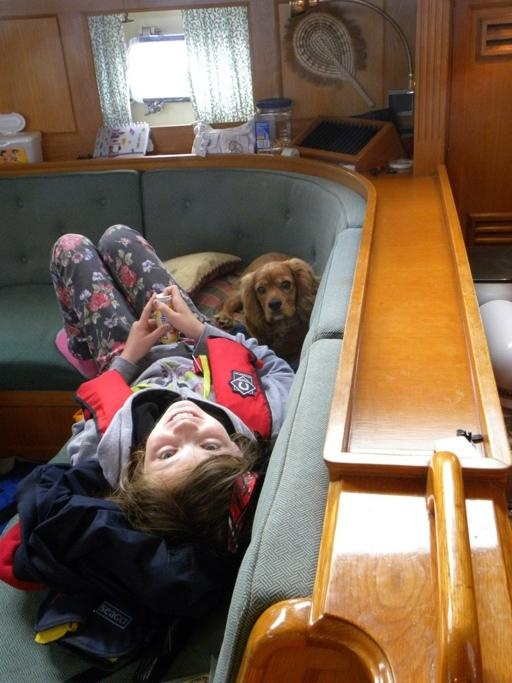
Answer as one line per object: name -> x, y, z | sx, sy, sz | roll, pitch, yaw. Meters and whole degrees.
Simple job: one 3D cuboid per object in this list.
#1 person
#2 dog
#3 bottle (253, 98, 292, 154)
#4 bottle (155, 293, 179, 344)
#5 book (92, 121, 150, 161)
person -> -0.214, 0.110, 1.221 | 0.489, 0.353, 0.864 | -12, 36, -10
dog -> 0.045, -0.173, 1.616 | 0.253, 0.211, 0.415 | 1, 40, 2
bottle -> 0.091, -1.061, 2.422 | 0.166, 0.207, 0.498 | -4, 28, 8
bottle -> -0.244, -0.062, 1.373 | 0.065, 0.140, 0.070 | -3, 39, 2
book -> -0.708, -1.037, 2.591 | 0.293, 0.138, 0.247 | -4, 28, 6
